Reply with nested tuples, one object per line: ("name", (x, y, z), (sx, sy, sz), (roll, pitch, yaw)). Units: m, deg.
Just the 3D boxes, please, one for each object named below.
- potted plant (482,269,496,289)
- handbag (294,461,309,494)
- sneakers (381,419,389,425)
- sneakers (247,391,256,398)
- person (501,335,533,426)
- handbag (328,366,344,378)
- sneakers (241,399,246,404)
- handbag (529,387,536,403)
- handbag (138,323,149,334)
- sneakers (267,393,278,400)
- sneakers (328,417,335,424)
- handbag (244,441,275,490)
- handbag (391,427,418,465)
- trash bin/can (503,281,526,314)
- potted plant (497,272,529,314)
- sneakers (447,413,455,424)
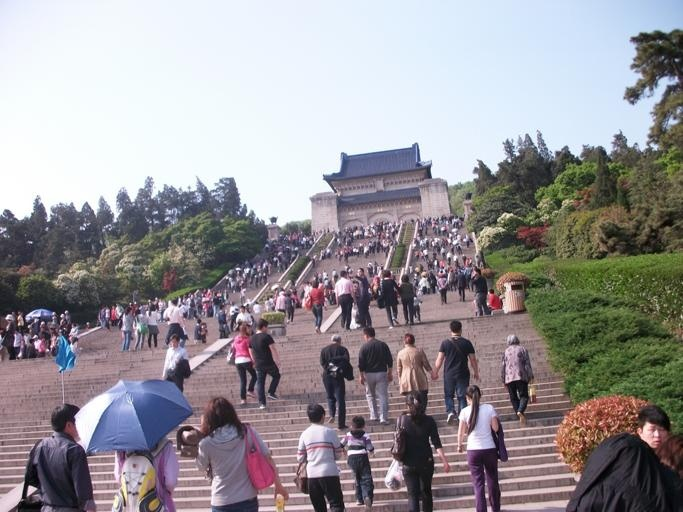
("potted plant", (5.385, 0.847, 23.143), (0.625, 0.749, 0.672), (-6, -2, 25))
("handbag", (-0.514, 2.860, 8.151), (0.152, 0.430, 0.441), (-2, -10, -5))
("sneakers", (0.771, 2.902, 11.136), (0.061, 0.091, 0.196), (0, -15, -13))
("sneakers", (-1.867, 2.890, 13.239), (0.194, 0.147, 0.287), (-2, -11, -9))
("person", (3.086, 2.145, 11.057), (0.488, 1.535, 0.906), (-6, -10, 15))
("handbag", (-0.088, 1.978, 10.918), (0.227, 0.203, 0.095), (-1, -10, -12))
("sneakers", (-2.026, 3.001, 13.045), (0.083, 0.123, 0.130), (-2, -42, 6))
("handbag", (3.365, 2.450, 11.138), (0.093, 0.332, 0.236), (-3, -46, 8))
("handbag", (-6.538, 2.428, 21.103), (0.419, 0.495, 0.252), (4, -12, -27))
("sneakers", (-1.406, 2.858, 12.909), (0.201, 0.147, 0.343), (-2, -11, -8))
("sneakers", (-0.177, 2.972, 11.454), (0.065, 0.076, 0.183), (2, -33, -4))
("handbag", (-0.881, 2.282, 6.890), (0.307, 0.499, 0.159), (-2, -9, -8))
("handbag", (0.797, 2.262, 8.080), (0.281, 0.668, 0.616), (-3, -8, 13))
("trash bin/can", (5.101, 1.235, 18.666), (0.699, 1.200, 0.763), (0, -6, -1))
("potted plant", (5.222, 1.185, 19.047), (0.920, 1.187, 1.076), (-4, -17, 13))
("sneakers", (1.828, 2.726, 10.562), (0.087, 0.226, 0.089), (7, 19, -2))
